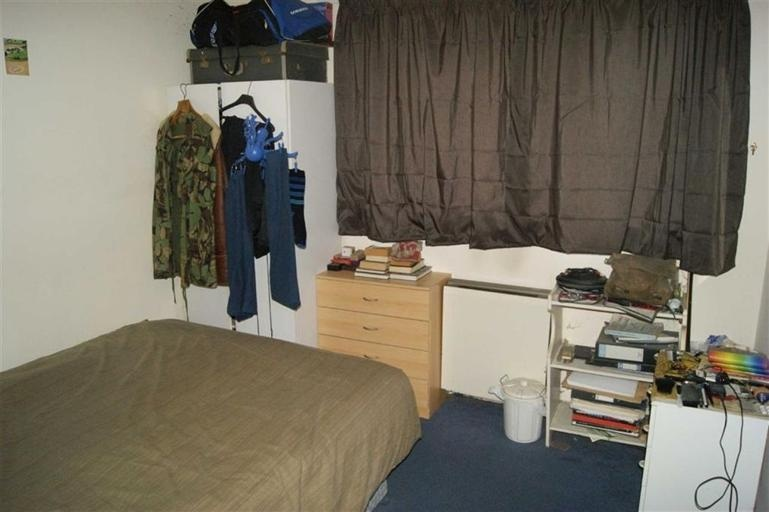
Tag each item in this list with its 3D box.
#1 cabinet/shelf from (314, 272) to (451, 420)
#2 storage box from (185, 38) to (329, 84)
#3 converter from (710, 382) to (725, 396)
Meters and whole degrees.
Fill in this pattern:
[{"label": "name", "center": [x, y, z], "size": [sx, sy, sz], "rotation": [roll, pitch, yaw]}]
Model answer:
[{"label": "cabinet/shelf", "center": [0.023, 0.550, 3.827], "size": [0.831, 0.866, 0.466], "rotation": [2, 7, 21]}, {"label": "storage box", "center": [-0.898, -1.352, 4.353], "size": [0.812, 0.284, 0.583], "rotation": [5, 15, 24]}, {"label": "converter", "center": [1.653, 0.665, 3.046], "size": [0.075, 0.050, 0.080], "rotation": [5, 11, 21]}]
